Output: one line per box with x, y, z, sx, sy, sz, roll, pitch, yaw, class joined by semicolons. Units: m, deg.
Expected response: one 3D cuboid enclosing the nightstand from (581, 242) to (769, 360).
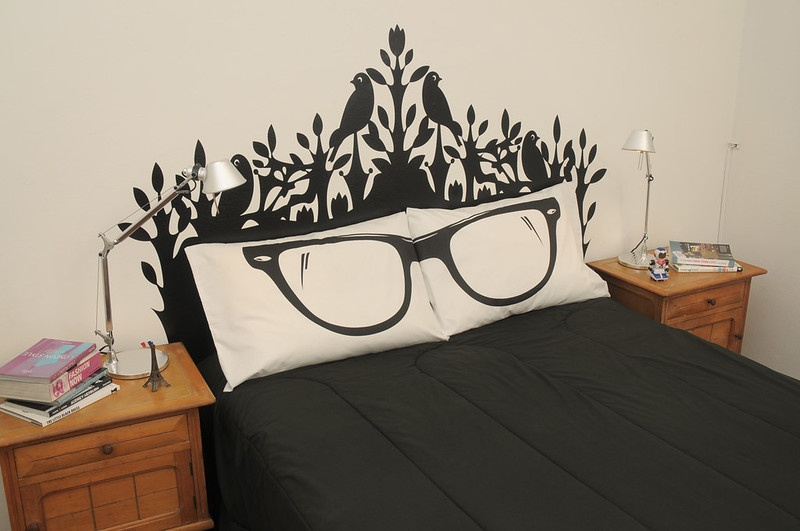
1.752;0.425;3.312;0.751;0.987;0.601;-12;20;-9;nightstand

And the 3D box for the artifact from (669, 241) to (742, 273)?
1.785;-0.043;3.092;0.245;0.064;0.246;-1;26;1;artifact

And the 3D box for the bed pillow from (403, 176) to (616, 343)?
0.536;-0.044;2.757;0.990;0.687;0.231;-10;-5;-16;bed pillow
